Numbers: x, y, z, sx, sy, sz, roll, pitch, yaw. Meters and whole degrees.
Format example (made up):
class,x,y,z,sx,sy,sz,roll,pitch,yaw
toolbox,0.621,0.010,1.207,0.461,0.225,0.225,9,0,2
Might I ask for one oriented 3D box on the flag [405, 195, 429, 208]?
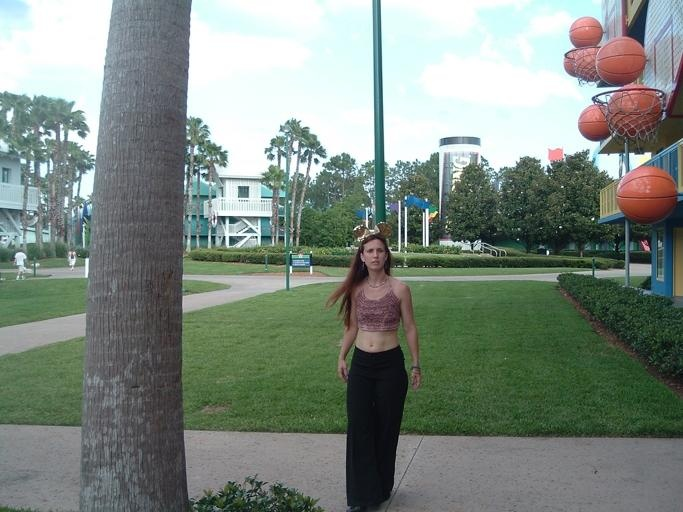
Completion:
class,x,y,z,sx,sy,sz,roll,pitch,yaw
flag,7.472,-5.106,58.192,2.129,1.282,3.379,0,-7,12
